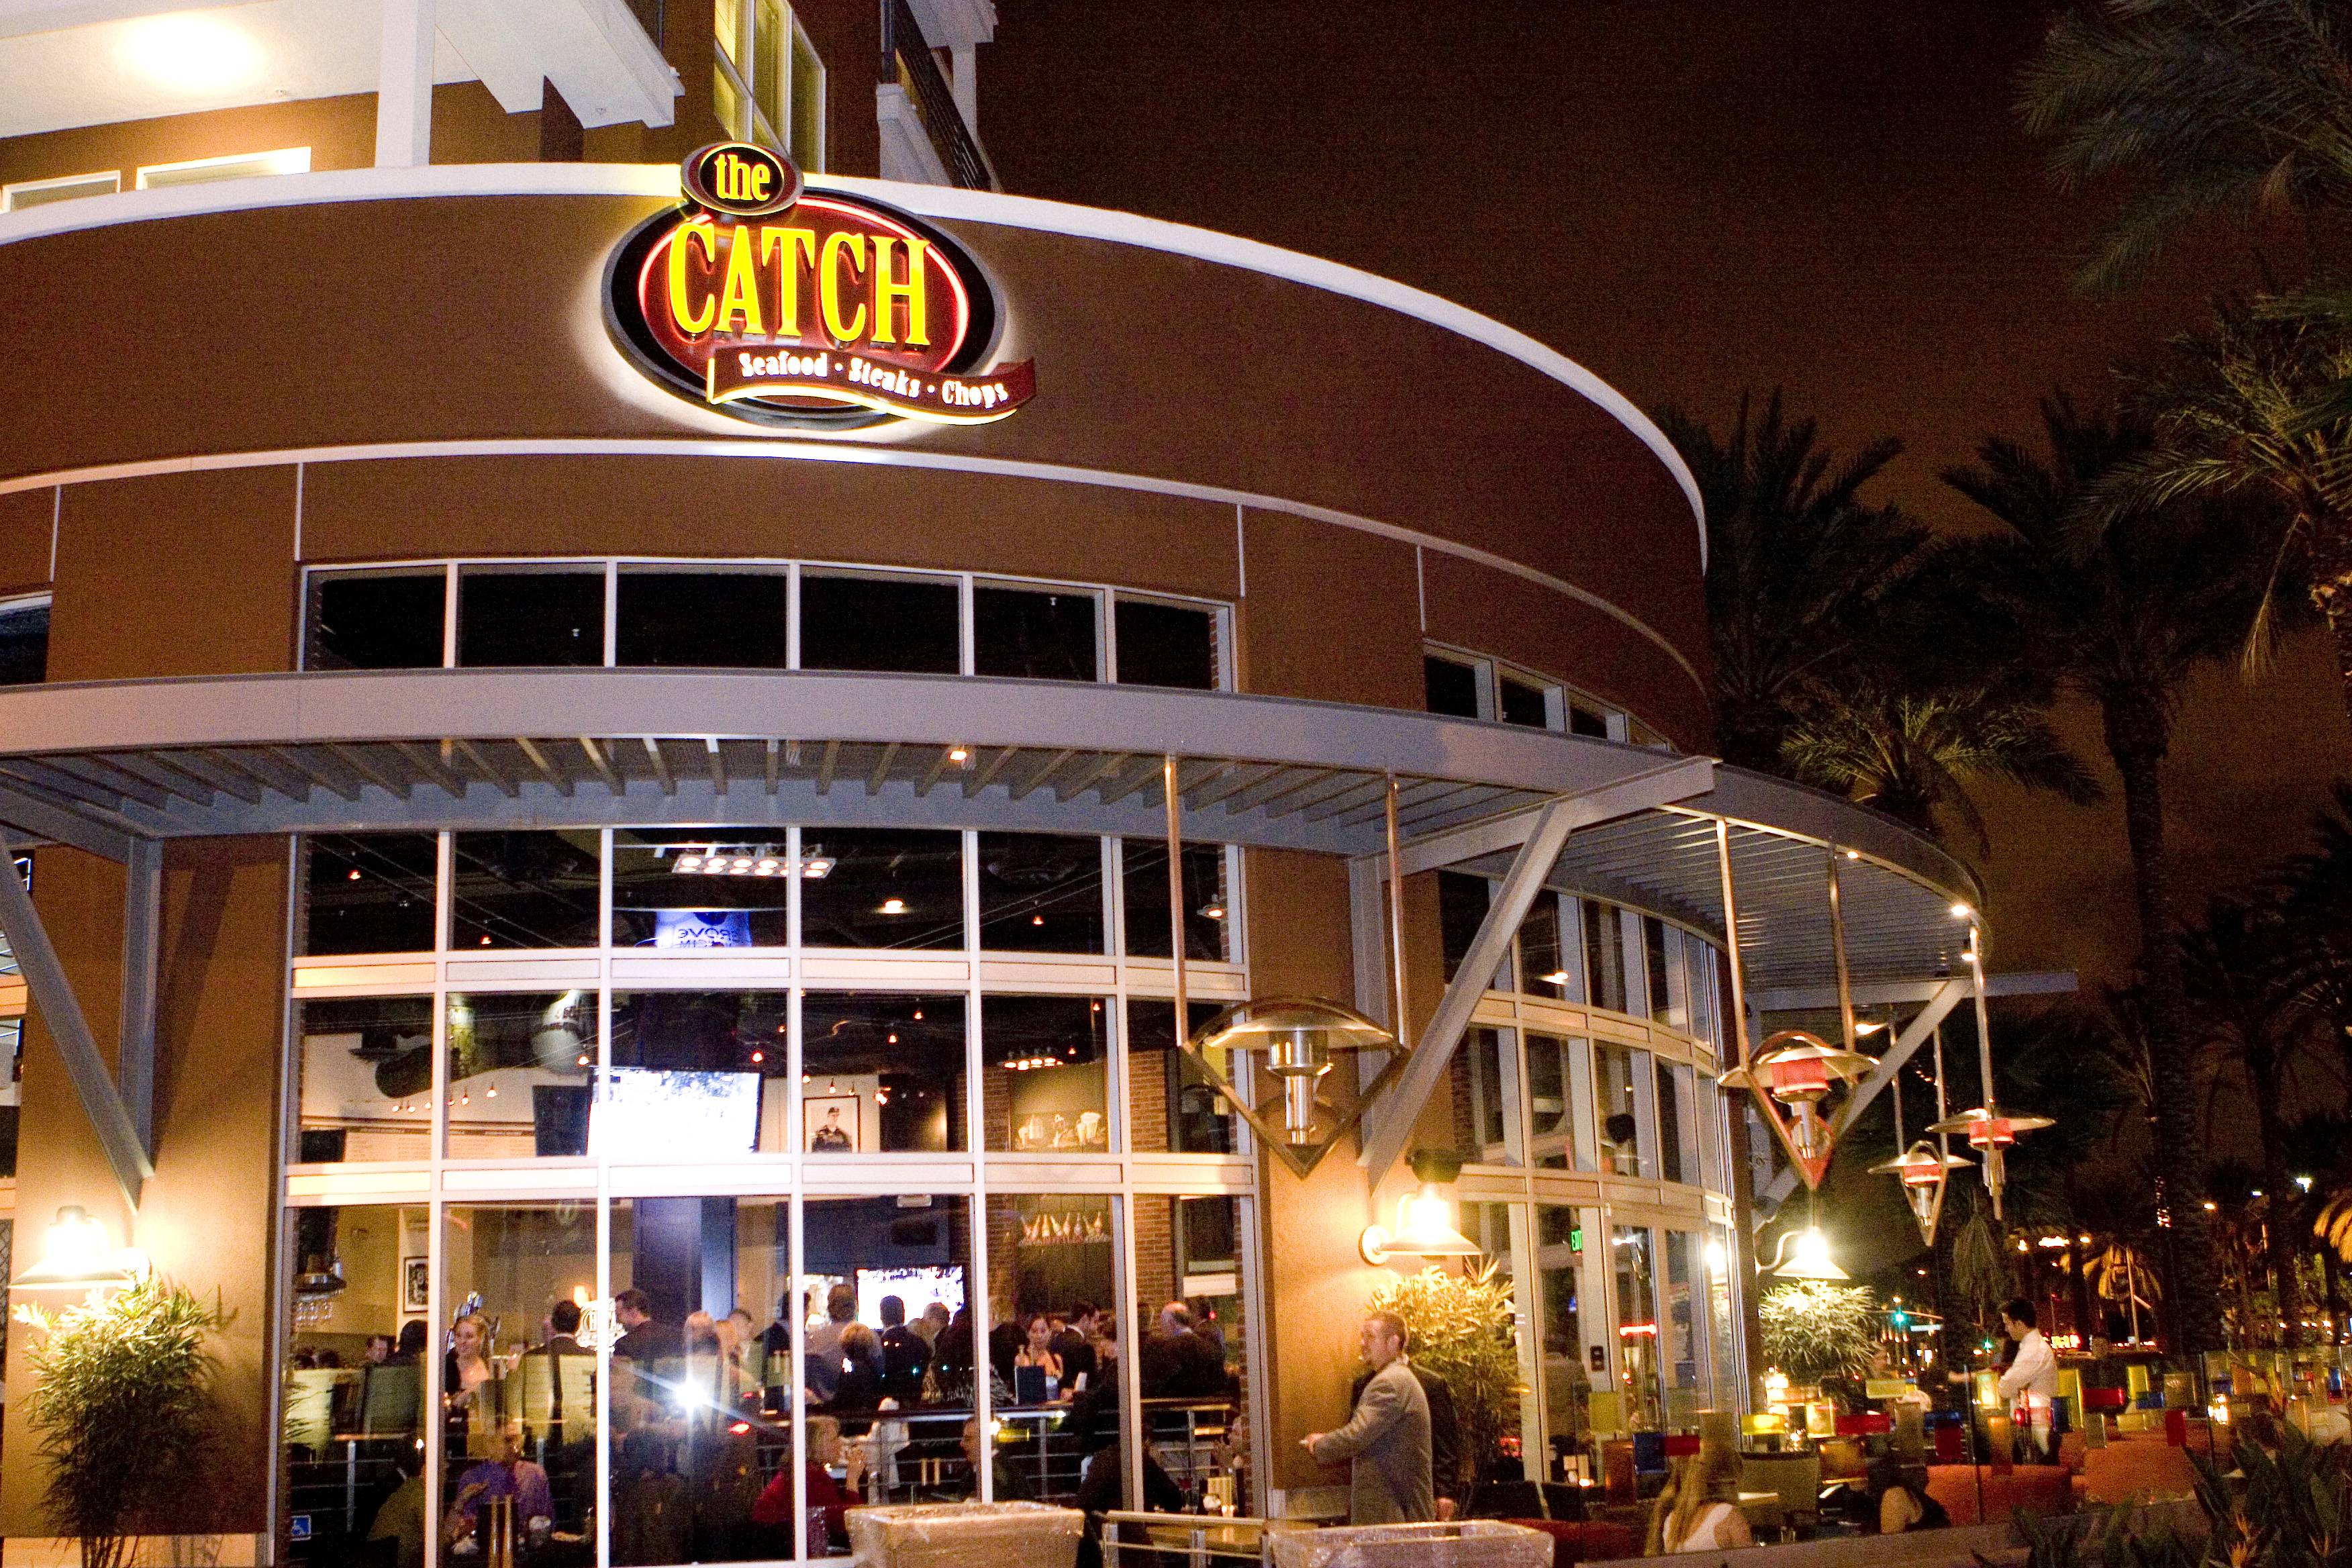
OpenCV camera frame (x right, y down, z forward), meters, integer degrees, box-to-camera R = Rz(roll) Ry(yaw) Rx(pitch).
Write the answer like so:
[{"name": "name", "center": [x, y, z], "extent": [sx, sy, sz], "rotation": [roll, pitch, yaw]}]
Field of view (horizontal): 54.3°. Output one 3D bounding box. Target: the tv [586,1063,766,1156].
[{"name": "tv", "center": [-4.517, 2.960, 20.513], "extent": [1.435, 0.775, 0.134], "rotation": [2, -21, -7]}]

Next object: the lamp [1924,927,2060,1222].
[{"name": "lamp", "center": [8.977, 3.131, 25.591], "extent": [1.127, 3.037, 1.124], "rotation": [-9, -5, -8]}]

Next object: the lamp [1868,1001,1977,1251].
[{"name": "lamp", "center": [8.684, 4.004, 26.751], "extent": [1.092, 2.833, 1.100], "rotation": [-4, -5, 32]}]

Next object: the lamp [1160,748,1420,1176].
[{"name": "lamp", "center": [1.012, 1.452, 20.122], "extent": [2.144, 3.863, 1.310], "rotation": [5, -27, -11]}]

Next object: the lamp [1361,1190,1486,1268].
[{"name": "lamp", "center": [2.306, 4.421, 22.320], "extent": [0.844, 0.583, 0.866], "rotation": [1, -7, 3]}]
